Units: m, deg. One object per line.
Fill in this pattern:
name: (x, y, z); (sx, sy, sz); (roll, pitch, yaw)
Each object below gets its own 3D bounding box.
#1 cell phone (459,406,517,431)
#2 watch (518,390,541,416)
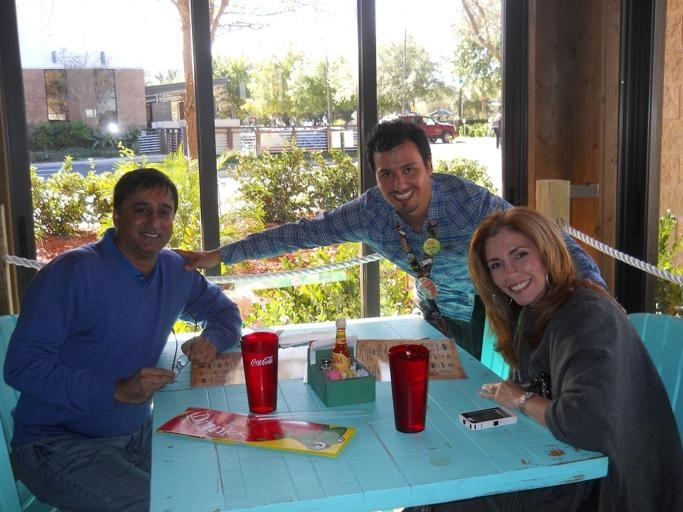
cell phone: (0.373, 0.410, 1.307); (0.096, 0.019, 0.057); (-4, 12, -10)
watch: (0.499, 0.392, 1.374); (0.032, 0.055, 0.056); (12, 45, 28)
